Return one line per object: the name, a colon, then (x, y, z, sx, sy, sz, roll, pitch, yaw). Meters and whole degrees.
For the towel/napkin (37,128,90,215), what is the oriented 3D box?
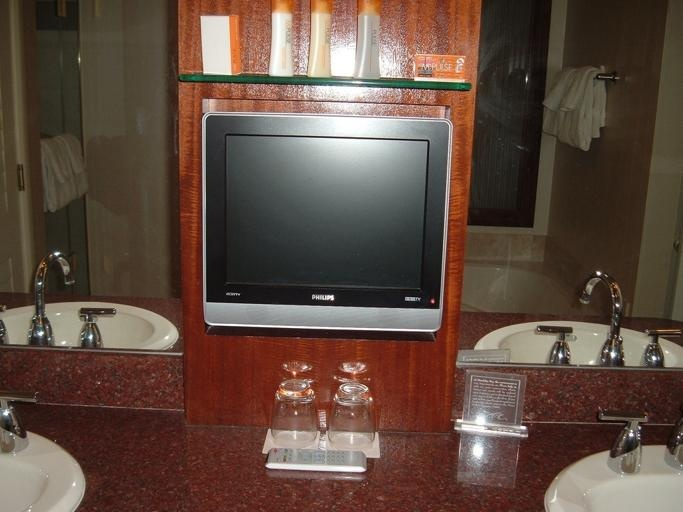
towel/napkin: (-0.713, -0.216, 1.438, 0.137, 0.190, 0.065, -5, 8, 7)

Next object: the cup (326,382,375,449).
cup: (0.022, 0.389, 1.406, 0.119, 0.132, 0.135, 1, 12, -3)

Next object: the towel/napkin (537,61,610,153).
towel/napkin: (0.580, -0.366, 1.397, 0.157, 0.200, 0.014, 0, 8, -7)

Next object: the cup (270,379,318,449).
cup: (-0.107, 0.373, 1.336, 0.113, 0.139, 0.142, 0, 2, -3)

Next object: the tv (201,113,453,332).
tv: (-0.039, -0.093, 1.304, 0.462, 0.419, 0.054, 1, 11, 2)
